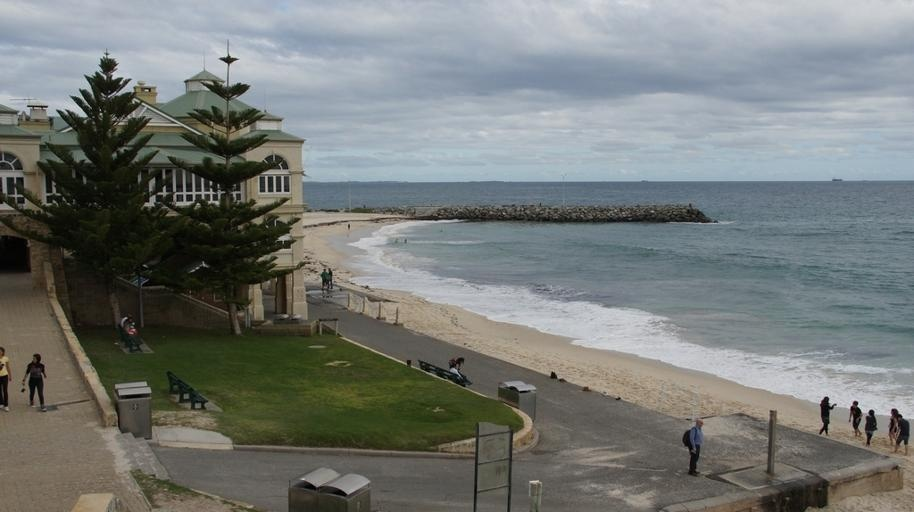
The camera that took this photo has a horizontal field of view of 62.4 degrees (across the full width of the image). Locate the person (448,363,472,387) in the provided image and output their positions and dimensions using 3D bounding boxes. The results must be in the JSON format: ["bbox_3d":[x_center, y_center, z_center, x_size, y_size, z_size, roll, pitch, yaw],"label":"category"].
[{"bbox_3d":[0.000,5.076,32.482,0.857,1.062,1.434,-1,6,-3],"label":"person"}]

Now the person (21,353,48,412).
[{"bbox_3d":[-14.432,4.189,25.672,0.560,1.837,1.306,-6,9,-29],"label":"person"}]

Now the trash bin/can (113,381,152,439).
[{"bbox_3d":[-10.706,5.154,24.855,1.052,1.803,0.708,-3,9,-19],"label":"trash bin/can"}]

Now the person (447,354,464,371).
[{"bbox_3d":[-0.127,4.865,34.311,0.602,0.365,0.935,37,-46,-25],"label":"person"}]

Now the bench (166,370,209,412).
[{"bbox_3d":[-10.071,5.057,27.851,2.940,0.636,0.889,13,12,40],"label":"bench"}]

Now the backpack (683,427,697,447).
[{"bbox_3d":[8.010,6.279,26.070,0.372,0.757,0.364,1,9,8],"label":"backpack"}]

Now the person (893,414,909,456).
[{"bbox_3d":[18.036,7.238,30.533,0.528,1.412,0.720,4,10,26],"label":"person"}]

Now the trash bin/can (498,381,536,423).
[{"bbox_3d":[2.265,5.682,29.088,1.451,1.247,2.119,1,0,-27],"label":"trash bin/can"}]
